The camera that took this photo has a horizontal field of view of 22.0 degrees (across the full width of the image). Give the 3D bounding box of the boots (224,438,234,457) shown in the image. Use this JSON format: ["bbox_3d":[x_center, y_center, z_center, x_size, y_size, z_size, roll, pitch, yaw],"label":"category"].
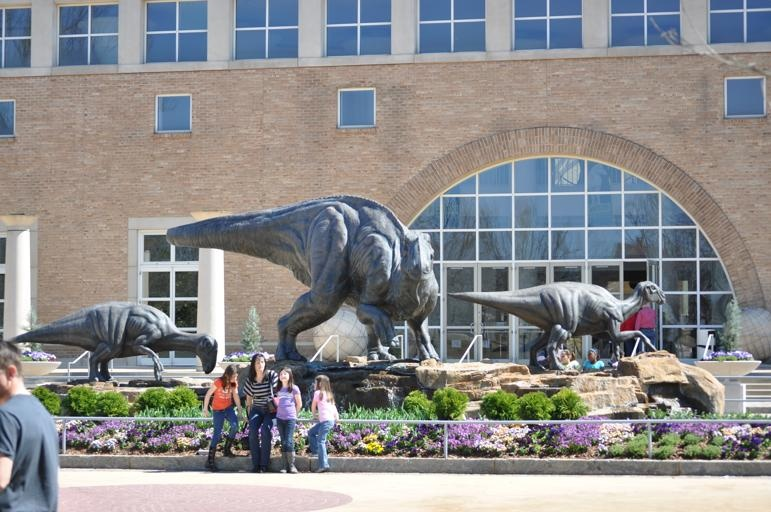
[{"bbox_3d":[-4.326,5.361,55.606,0.252,0.496,0.268,-4,14,-14],"label":"boots"}]

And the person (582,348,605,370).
[{"bbox_3d":[6.838,3.351,64.628,0.752,0.684,0.435,-14,-28,33],"label":"person"}]

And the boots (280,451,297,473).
[{"bbox_3d":[-2.617,5.763,55.134,0.574,0.603,0.545,1,-15,-8],"label":"boots"}]

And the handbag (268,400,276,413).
[{"bbox_3d":[-3.078,4.195,55.311,0.216,0.310,0.366,-11,3,-10],"label":"handbag"}]

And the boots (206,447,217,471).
[{"bbox_3d":[-4.793,5.663,55.409,0.260,0.638,0.360,-2,14,-5],"label":"boots"}]

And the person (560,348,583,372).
[{"bbox_3d":[5.766,3.286,61.269,0.410,0.510,1.292,-6,-25,37],"label":"person"}]

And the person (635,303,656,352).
[{"bbox_3d":[9.054,2.372,68.569,0.629,1.678,1.334,2,14,11],"label":"person"}]

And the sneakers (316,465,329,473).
[{"bbox_3d":[-1.677,5.950,55.158,0.431,0.167,0.137,-1,-6,13],"label":"sneakers"}]
